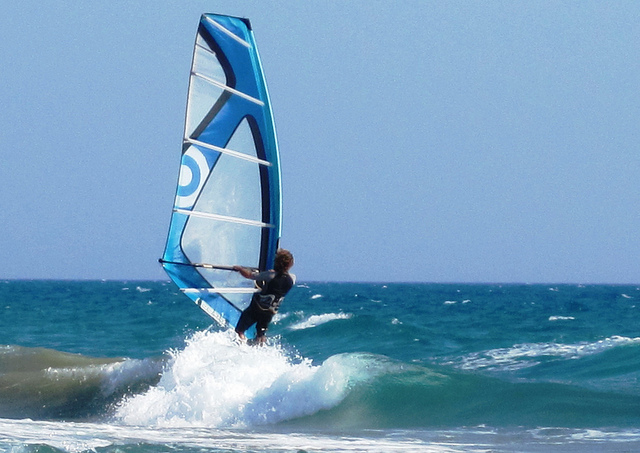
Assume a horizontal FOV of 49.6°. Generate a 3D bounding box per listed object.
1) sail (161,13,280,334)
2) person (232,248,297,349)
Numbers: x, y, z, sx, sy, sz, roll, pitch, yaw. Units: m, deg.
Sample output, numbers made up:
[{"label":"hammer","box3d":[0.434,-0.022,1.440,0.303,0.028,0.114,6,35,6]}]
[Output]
[{"label":"sail","box3d":[-1.675,-0.895,12.209,1.877,5.526,0.624,1,-3,-22]},{"label":"person","box3d":[-0.921,1.226,11.499,1.020,1.676,1.350,1,-3,-7]}]
